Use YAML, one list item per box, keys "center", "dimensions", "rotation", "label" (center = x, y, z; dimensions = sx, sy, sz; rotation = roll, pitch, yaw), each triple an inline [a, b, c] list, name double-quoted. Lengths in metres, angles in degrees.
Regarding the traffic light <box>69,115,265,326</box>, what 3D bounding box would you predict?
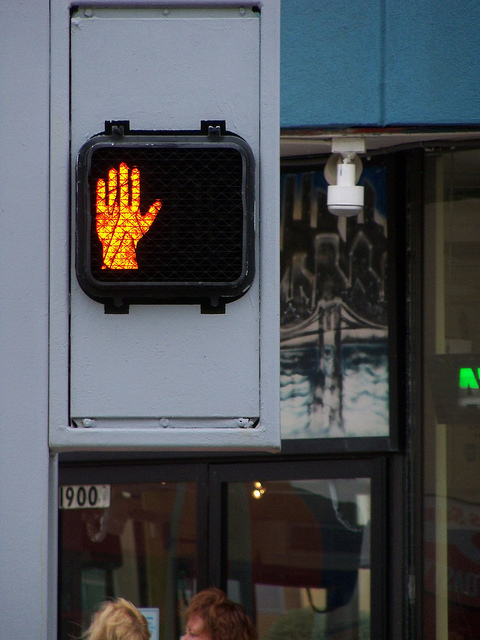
- center: [-0.296, -0.297, 5.749]
  dimensions: [0.716, 0.898, 0.458]
  rotation: [0, -30, -4]
  label: "traffic light"
